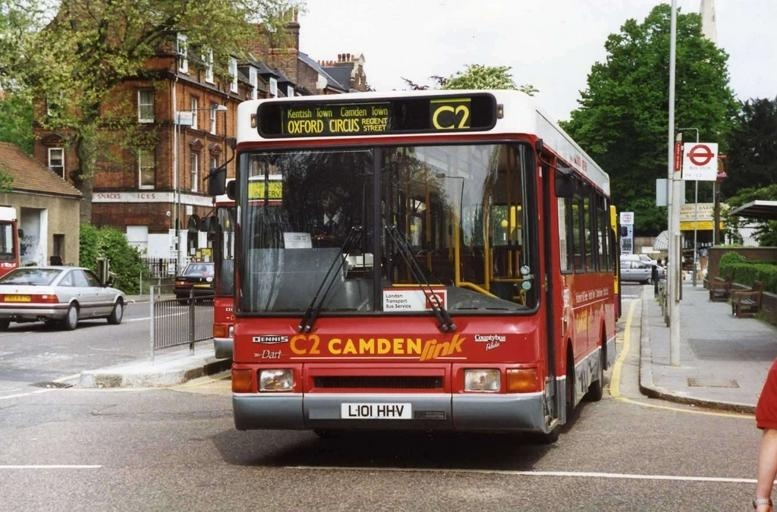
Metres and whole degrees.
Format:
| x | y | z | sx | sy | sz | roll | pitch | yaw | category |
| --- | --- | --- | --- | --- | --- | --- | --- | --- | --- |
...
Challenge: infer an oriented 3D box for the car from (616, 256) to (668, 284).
| x | y | z | sx | sy | sz | roll | pitch | yaw | category |
| --- | --- | --- | --- | --- | --- | --- | --- | --- | --- |
| 15.877 | 0.928 | 49.625 | 3.038 | 1.045 | 1.954 | -1 | 2 | 2 | car |

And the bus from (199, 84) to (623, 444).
| x | y | z | sx | sy | sz | roll | pitch | yaw | category |
| --- | --- | --- | --- | --- | --- | --- | --- | --- | --- |
| 0.615 | 0.246 | 9.362 | 4.845 | 2.774 | 2.522 | -1 | -1 | -15 | bus |

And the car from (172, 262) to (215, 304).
| x | y | z | sx | sy | sz | roll | pitch | yaw | category |
| --- | --- | --- | --- | --- | --- | --- | --- | --- | --- |
| -8.007 | 1.093 | 32.752 | 1.773 | 1.591 | 3.342 | -1 | 2 | 3 | car |
